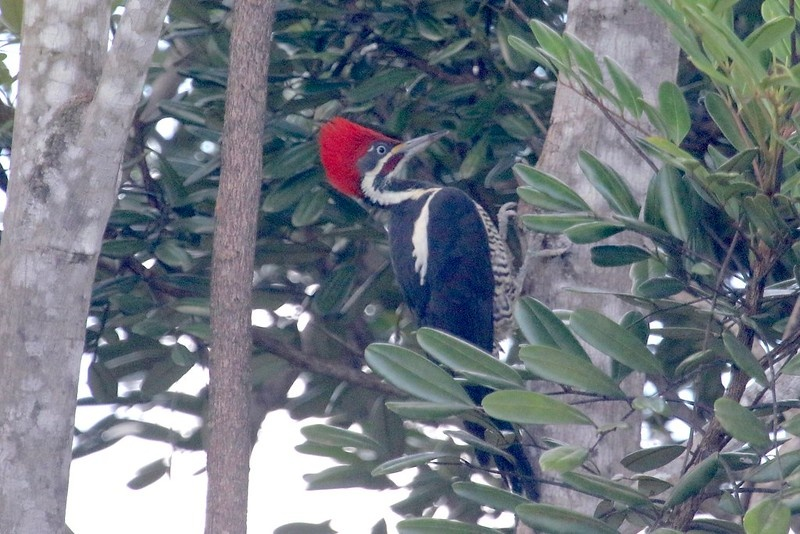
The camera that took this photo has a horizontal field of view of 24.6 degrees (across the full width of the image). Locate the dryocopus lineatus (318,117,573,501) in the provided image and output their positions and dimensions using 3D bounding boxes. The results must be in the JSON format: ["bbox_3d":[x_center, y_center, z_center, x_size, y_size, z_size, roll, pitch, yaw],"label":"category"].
[{"bbox_3d":[0.094,-0.103,6.893,1.060,0.851,0.462,12,-24,-38],"label":"dryocopus lineatus"}]
